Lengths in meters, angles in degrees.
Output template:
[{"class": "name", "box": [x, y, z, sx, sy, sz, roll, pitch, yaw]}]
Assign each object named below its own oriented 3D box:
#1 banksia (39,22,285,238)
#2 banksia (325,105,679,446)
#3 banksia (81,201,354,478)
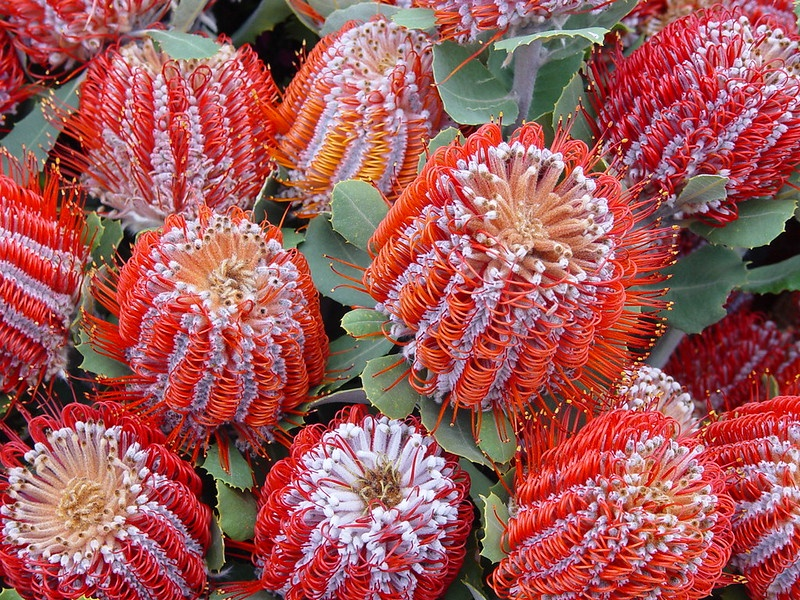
[{"class": "banksia", "box": [-0.490, -0.357, 2.258, 0.413, 0.428, 0.432, -7, 45, -9]}, {"class": "banksia", "box": [0.159, -0.020, 2.162, 0.552, 0.623, 0.612, 4, 63, -12]}, {"class": "banksia", "box": [-0.320, 0.069, 2.218, 0.491, 0.517, 0.490, 4, 49, -4]}]
